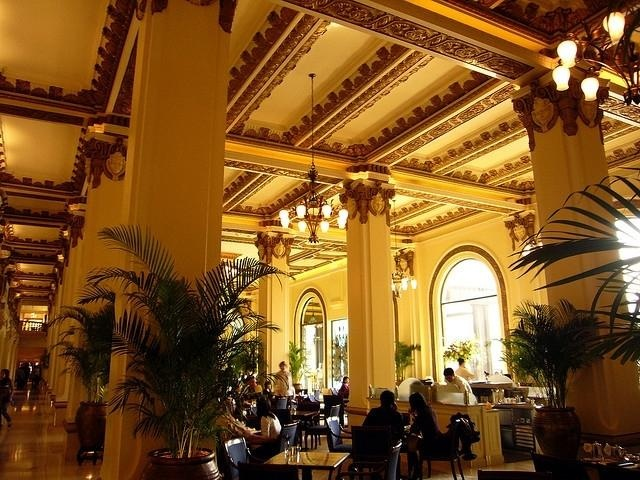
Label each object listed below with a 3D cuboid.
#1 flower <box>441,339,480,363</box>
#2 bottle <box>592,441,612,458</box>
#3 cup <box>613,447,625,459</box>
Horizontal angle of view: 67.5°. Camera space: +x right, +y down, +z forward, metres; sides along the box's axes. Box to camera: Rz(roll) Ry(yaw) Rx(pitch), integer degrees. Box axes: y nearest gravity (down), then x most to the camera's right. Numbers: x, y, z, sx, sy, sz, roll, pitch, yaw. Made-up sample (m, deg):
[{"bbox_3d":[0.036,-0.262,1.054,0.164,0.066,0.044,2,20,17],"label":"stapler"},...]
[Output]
[{"bbox_3d":[4.869,3.827,16.408,1.335,0.996,1.264,2,-10,-12],"label":"flower"},{"bbox_3d":[3.153,2.347,5.372,0.199,0.167,0.544,-11,-20,26],"label":"bottle"},{"bbox_3d":[3.259,2.323,5.242,0.116,0.108,0.182,-12,-21,28],"label":"cup"}]
